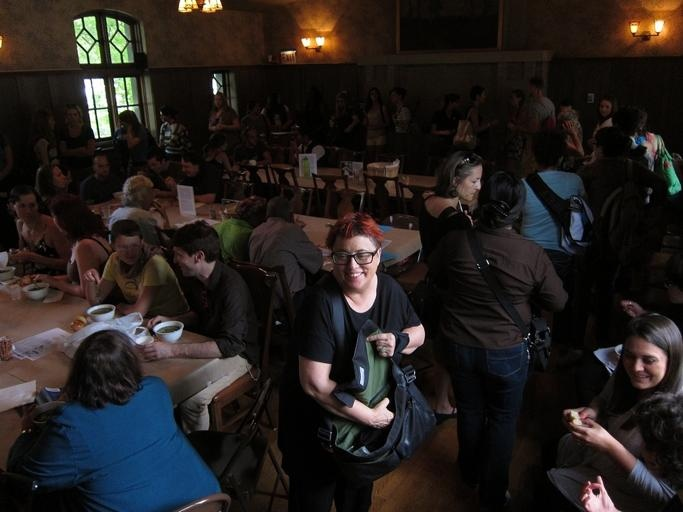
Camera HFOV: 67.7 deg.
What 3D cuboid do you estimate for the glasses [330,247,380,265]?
[{"bbox_3d":[0.049,-0.001,2.028,0.183,0.063,0.064,-1,16,8],"label":"glasses"}]

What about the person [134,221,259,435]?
[{"bbox_3d":[-0.863,0.556,3.161,0.652,1.498,0.740,1,5,1],"label":"person"}]

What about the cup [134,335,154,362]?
[{"bbox_3d":[-1.152,0.534,2.977,0.110,0.101,0.128,1,11,4],"label":"cup"}]

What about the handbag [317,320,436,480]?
[{"bbox_3d":[0.149,0.576,2.071,0.475,0.629,0.214,-10,17,-24],"label":"handbag"}]

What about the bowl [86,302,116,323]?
[{"bbox_3d":[-1.511,0.346,3.235,0.126,0.062,0.133,3,21,-1],"label":"bowl"}]

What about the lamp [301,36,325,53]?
[{"bbox_3d":[-0.642,-4.596,11.012,0.560,0.326,0.207,6,17,27],"label":"lamp"}]

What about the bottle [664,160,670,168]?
[{"bbox_3d":[2.874,-0.815,4.505,0.051,0.052,0.014,11,-9,-11],"label":"bottle"}]

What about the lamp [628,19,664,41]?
[{"bbox_3d":[4.786,-3.546,7.999,0.482,0.307,0.136,7,18,31],"label":"lamp"}]
